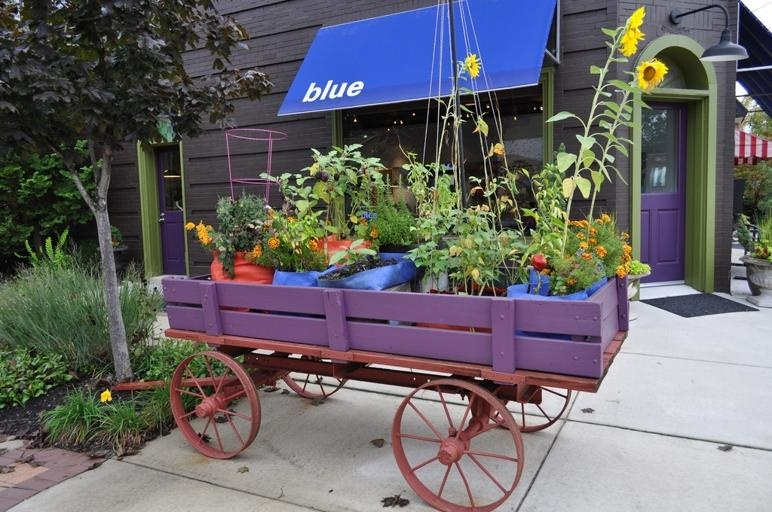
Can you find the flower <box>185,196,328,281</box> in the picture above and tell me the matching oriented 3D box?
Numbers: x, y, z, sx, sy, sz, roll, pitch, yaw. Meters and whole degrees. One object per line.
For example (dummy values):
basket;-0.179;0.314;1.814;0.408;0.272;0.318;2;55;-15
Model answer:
flower;-1.103;-0.191;5.243;1.173;0.630;0.857;4;10;10
